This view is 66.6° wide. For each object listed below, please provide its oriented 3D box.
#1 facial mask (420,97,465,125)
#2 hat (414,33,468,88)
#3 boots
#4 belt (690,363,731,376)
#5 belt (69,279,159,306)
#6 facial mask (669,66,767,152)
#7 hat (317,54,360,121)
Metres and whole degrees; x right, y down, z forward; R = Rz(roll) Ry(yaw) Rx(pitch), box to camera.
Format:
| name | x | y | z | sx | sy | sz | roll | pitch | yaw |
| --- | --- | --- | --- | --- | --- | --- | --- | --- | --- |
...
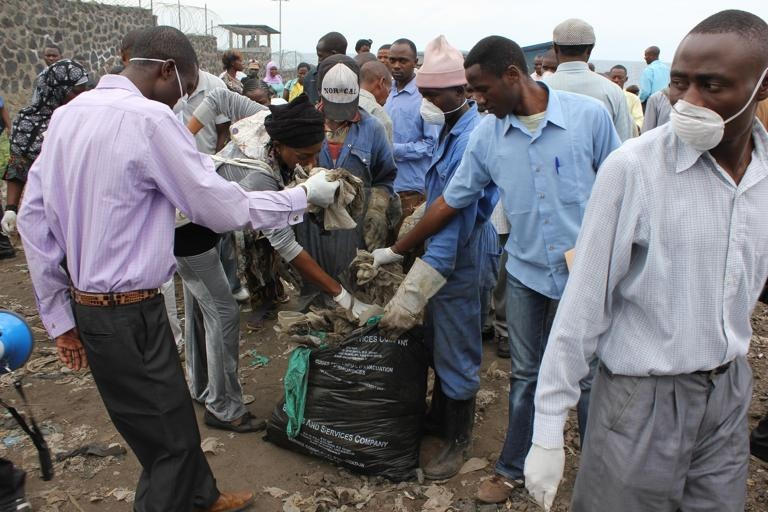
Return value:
| name | x | y | z | sx | sy | sz | roll | pitch | yaw |
| --- | --- | --- | --- | --- | --- | --- | --- | --- | --- |
| facial mask | 0.392 | -0.968 | 3.960 | 0.237 | 0.137 | 0.187 | -22 | 30 | 5 |
| hat | 0.372 | -1.213 | 3.688 | 0.297 | 0.335 | 0.201 | 6 | 14 | 12 |
| boots | 0.432 | 1.112 | 3.884 | 0.299 | 0.520 | 0.524 | 4 | 13 | 4 |
| belt | 1.296 | 0.446 | 2.290 | 0.078 | 0.030 | 0.084 | -10 | 12 | 45 |
| belt | -1.403 | 0.199 | 2.990 | 0.452 | 0.094 | 0.152 | 2 | 13 | -5 |
| facial mask | 1.254 | -0.546 | 2.196 | 0.315 | 0.318 | 0.151 | 7 | 14 | 17 |
| hat | -0.322 | -1.231 | 4.225 | 0.293 | 0.470 | 0.205 | -1 | -7 | -1 |
